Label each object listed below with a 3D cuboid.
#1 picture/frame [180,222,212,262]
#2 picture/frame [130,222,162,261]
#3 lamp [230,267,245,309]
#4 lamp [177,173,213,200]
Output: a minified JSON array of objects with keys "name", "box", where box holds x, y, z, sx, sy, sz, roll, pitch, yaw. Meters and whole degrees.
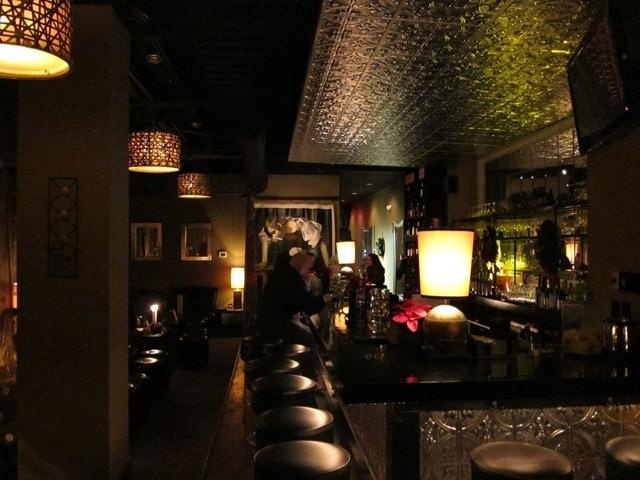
[{"name":"picture/frame","box":[-2.449,0.046,10.701,0.743,0.938,0.096,0,-4,-8]},{"name":"picture/frame","box":[-3.409,0.046,10.649,0.724,0.978,0.100,0,-3,-6]},{"name":"lamp","box":[-1.623,0.941,10.571,0.358,0.833,0.229,0,-3,13]},{"name":"lamp","box":[-2.115,-0.907,9.222,0.479,0.351,0.494,-1,0,24]}]
